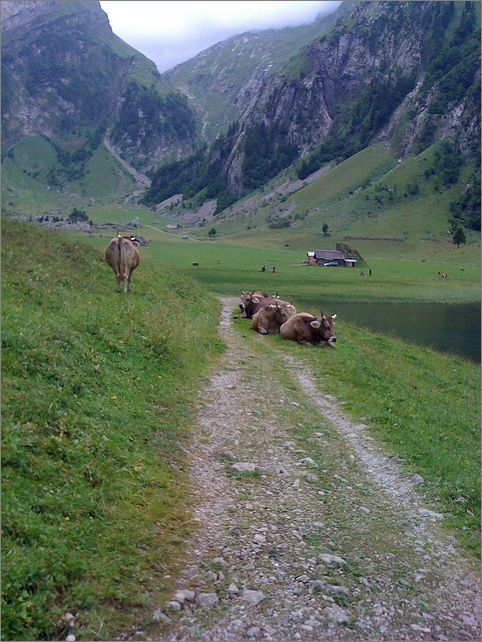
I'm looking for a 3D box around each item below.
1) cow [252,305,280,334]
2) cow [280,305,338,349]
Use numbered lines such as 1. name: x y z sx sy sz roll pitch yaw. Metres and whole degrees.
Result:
1. cow: 1.284 -0.122 31.576 1.425 1.330 1.270 9 9 13
2. cow: 3.033 0.339 28.337 1.240 1.439 2.881 0 10 -36
